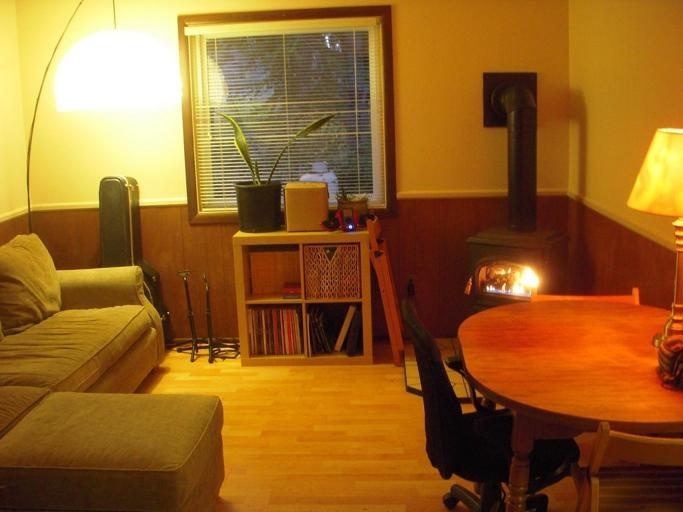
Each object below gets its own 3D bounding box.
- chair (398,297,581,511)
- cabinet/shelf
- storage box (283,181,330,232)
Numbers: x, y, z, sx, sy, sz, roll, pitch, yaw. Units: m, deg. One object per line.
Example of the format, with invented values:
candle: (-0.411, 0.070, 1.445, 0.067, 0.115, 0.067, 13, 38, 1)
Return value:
chair: (0.563, 0.542, 2.877, 0.760, 0.988, 0.722, -5, 11, -3)
cabinet/shelf: (-0.274, 0.281, 4.457, 0.902, 0.948, 0.310, -1, 4, 1)
storage box: (-0.241, -0.344, 4.360, 0.308, 0.337, 0.319, -1, 13, -1)
